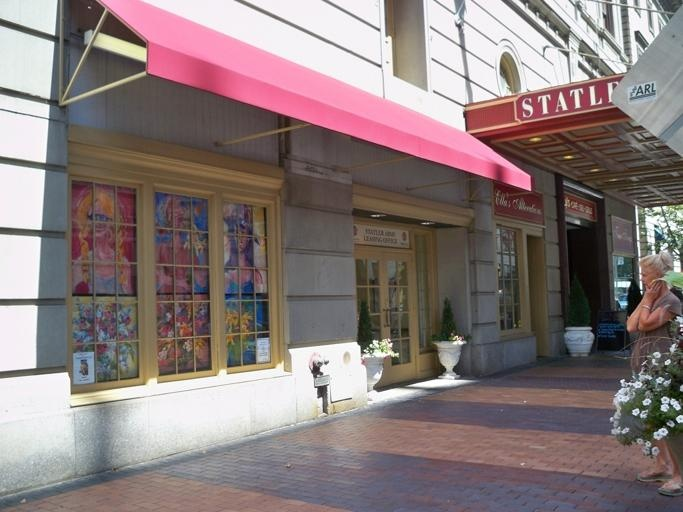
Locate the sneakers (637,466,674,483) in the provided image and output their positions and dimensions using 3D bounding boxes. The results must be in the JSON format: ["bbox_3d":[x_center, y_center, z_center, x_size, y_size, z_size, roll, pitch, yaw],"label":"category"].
[{"bbox_3d":[3.065,2.123,5.142,0.252,0.120,0.125,1,-6,16],"label":"sneakers"}]

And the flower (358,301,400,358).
[{"bbox_3d":[0.648,1.507,10.459,0.625,1.217,1.479,-1,-4,2],"label":"flower"}]

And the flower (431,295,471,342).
[{"bbox_3d":[2.541,1.469,12.179,0.815,1.138,0.913,-3,-8,12],"label":"flower"}]

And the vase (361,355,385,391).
[{"bbox_3d":[0.627,2.191,9.938,0.543,0.763,0.591,-2,-6,12],"label":"vase"}]

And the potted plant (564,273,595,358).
[{"bbox_3d":[7.202,1.799,15.982,0.786,2.445,0.552,-2,-4,17],"label":"potted plant"}]

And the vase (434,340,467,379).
[{"bbox_3d":[2.479,2.400,12.144,0.748,0.913,0.781,-5,-12,36],"label":"vase"}]
